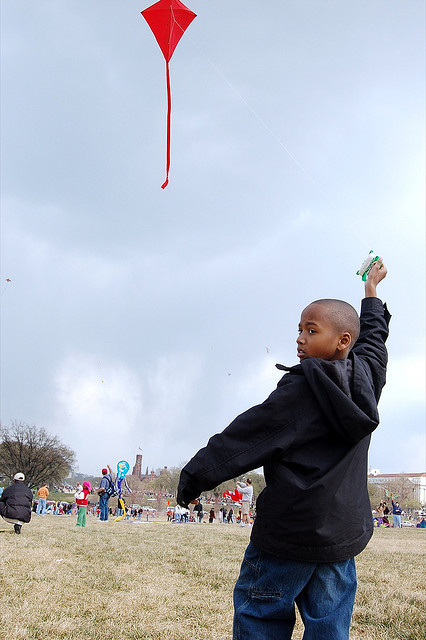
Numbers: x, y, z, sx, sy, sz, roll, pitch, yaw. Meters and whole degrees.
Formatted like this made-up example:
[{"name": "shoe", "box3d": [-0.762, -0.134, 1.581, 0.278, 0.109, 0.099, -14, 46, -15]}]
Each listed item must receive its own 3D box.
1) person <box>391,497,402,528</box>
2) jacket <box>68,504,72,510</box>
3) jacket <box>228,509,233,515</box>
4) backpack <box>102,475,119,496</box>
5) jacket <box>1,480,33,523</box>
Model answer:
[{"name": "person", "box3d": [6.053, 6.439, 21.324, 0.237, 0.770, 1.337, 0, -15, 15]}, {"name": "jacket", "box3d": [-8.343, 10.900, 37.673, 0.278, 0.334, 0.346, 7, -10, -15]}, {"name": "jacket", "box3d": [0.718, 8.011, 26.943, 0.184, 0.223, 0.254, 2, -4, 4]}, {"name": "backpack", "box3d": [-2.132, 3.567, 13.703, 0.374, 0.368, 0.256, 4, -9, 2]}, {"name": "jacket", "box3d": [-3.046, 2.791, 9.978, 0.468, 0.629, 0.610, 7, -15, -16]}]
